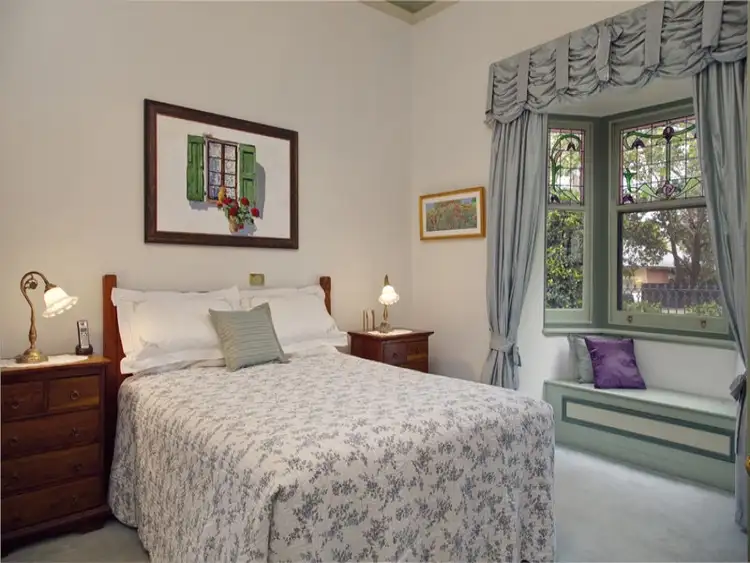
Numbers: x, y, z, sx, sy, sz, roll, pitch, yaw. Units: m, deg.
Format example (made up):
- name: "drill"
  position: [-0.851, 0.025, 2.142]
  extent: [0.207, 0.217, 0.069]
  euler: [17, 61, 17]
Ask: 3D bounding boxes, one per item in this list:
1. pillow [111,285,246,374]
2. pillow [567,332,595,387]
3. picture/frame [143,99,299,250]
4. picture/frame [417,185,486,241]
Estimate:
- name: "pillow"
  position: [-1.413, 0.363, 3.853]
  extent: [0.582, 0.468, 0.108]
  euler: [6, -32, -39]
- name: "pillow"
  position: [1.833, 0.708, 4.869]
  extent: [0.135, 0.422, 0.348]
  euler: [-15, -18, 39]
- name: "picture/frame"
  position: [-1.279, -0.852, 4.367]
  extent: [1.181, 1.065, 0.051]
  euler: [3, -5, -38]
- name: "picture/frame"
  position: [0.721, -0.622, 5.179]
  extent: [0.086, 0.460, 0.782]
  euler: [-6, 4, -39]
